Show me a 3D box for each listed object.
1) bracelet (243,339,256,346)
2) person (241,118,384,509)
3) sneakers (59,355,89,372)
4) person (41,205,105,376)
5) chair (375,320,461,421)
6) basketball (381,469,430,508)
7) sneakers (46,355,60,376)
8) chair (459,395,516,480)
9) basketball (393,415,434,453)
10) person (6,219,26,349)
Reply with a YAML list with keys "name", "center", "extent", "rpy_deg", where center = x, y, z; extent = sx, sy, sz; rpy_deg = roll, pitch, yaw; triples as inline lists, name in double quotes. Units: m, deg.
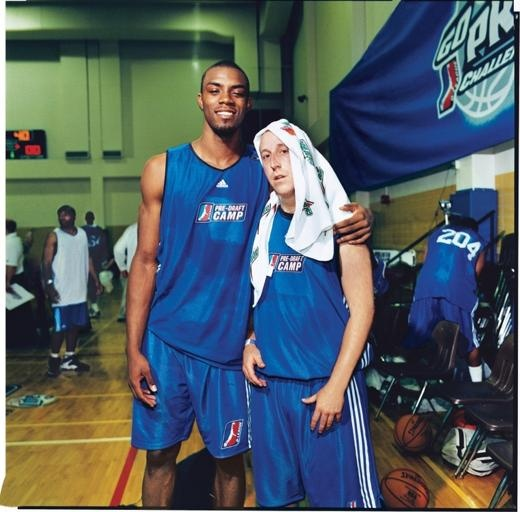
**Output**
- name: "bracelet"
  center: [-0.050, 0.352, 2.179]
  extent: [0.027, 0.029, 0.028]
  rpy_deg: [-4, -12, 41]
- name: "person"
  center: [0.185, 0.214, 2.015]
  extent: [0.532, 1.420, 0.371]
  rpy_deg: [0, 8, 4]
- name: "sneakers"
  center: [-1.292, 0.754, 3.709]
  extent: [0.161, 0.151, 0.090]
  rpy_deg: [0, 0, -12]
- name: "person"
  center: [-1.296, 0.235, 3.672]
  extent: [0.358, 1.130, 0.137]
  rpy_deg: [-4, 9, -26]
- name: "chair"
  center: [0.929, 0.679, 3.187]
  extent: [0.410, 0.804, 0.458]
  rpy_deg: [1, 1, -18]
- name: "basketball"
  center: [0.704, 1.143, 2.610]
  extent: [0.162, 0.199, 0.197]
  rpy_deg: [12, 39, -9]
- name: "sneakers"
  center: [-1.415, 0.751, 3.664]
  extent: [0.053, 0.169, 0.061]
  rpy_deg: [-2, -13, -18]
- name: "chair"
  center: [1.073, 0.904, 2.646]
  extent: [0.257, 0.495, 0.291]
  rpy_deg: [3, -6, -13]
- name: "basketball"
  center: [0.890, 0.964, 3.098]
  extent: [0.180, 0.277, 0.193]
  rpy_deg: [7, 9, 35]
- name: "person"
  center: [-1.630, 0.189, 3.548]
  extent: [0.151, 0.842, 0.119]
  rpy_deg: [-6, 10, -35]
